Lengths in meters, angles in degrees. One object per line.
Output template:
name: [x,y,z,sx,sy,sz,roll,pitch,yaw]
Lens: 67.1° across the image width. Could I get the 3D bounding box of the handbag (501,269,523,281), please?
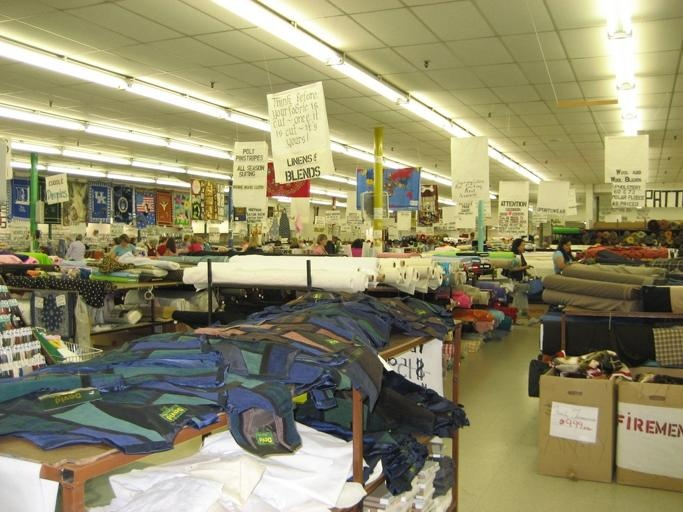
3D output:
handbag: [3.549,0.418,10.750,0.336,0.290,0.309,7,-7,-34]
